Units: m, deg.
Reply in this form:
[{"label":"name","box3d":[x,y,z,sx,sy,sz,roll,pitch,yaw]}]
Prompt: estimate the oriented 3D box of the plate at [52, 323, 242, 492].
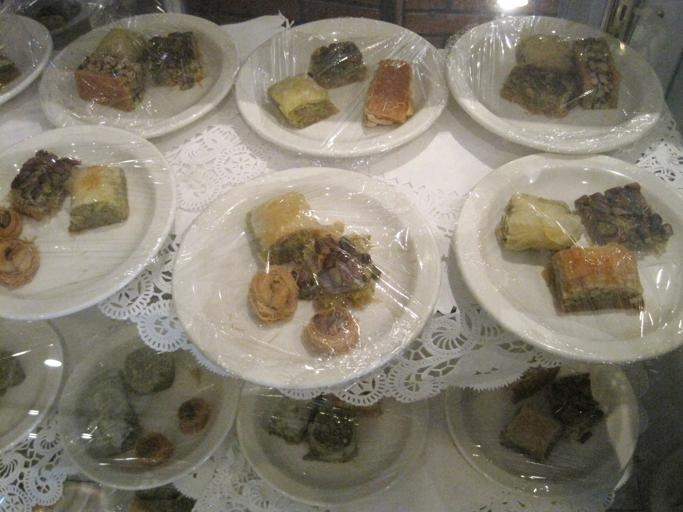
[{"label":"plate","box3d":[-0.465,0.378,1.411,0.406,0.043,0.344,24,82,4]}]
